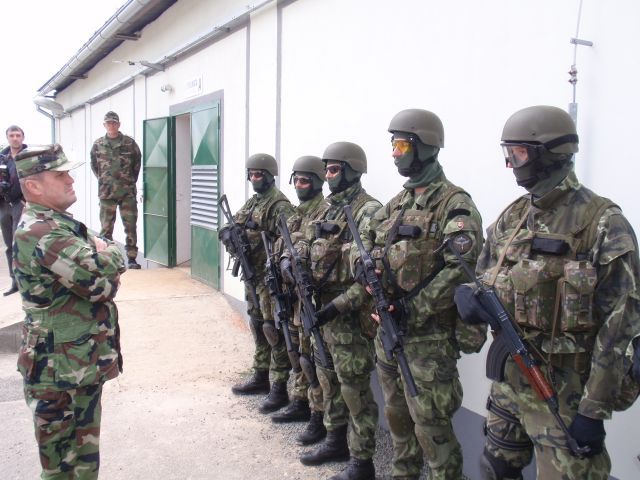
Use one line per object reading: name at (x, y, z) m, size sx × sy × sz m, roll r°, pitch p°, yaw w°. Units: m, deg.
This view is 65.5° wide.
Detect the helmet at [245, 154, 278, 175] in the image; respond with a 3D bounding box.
helmet at (-0.617, -0.827, 5.442) m, size 0.223 × 0.230 × 0.279 m, roll 5°, pitch 11°, yaw 12°

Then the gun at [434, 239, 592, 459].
gun at (1.077, 0.570, 2.766) m, size 0.160 × 1.433 × 0.454 m, roll -18°, pitch -19°, yaw -20°

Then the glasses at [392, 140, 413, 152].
glasses at (0.568, -0.654, 3.501) m, size 0.079 × 0.063 × 0.102 m, roll 5°, pitch 3°, yaw 45°

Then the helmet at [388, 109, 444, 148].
helmet at (0.688, -0.790, 3.538) m, size 0.329 × 0.219 × 0.257 m, roll -3°, pitch 14°, yaw -20°

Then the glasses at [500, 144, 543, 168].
glasses at (1.099, -0.476, 2.742) m, size 0.143 × 0.090 × 0.132 m, roll -4°, pitch 13°, yaw -22°

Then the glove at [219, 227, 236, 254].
glove at (-1.015, -0.034, 5.595) m, size 0.181 × 0.315 × 0.115 m, roll 7°, pitch 18°, yaw 43°

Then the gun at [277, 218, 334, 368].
gun at (-0.113, 0.424, 4.287) m, size 0.172 × 1.381 × 0.482 m, roll -11°, pitch -21°, yaw -10°

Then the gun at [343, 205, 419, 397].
gun at (0.444, 0.443, 3.567) m, size 0.152 × 1.558 × 0.499 m, roll -11°, pitch -26°, yaw -9°

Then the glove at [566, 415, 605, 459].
glove at (1.308, 0.966, 2.440) m, size 0.154 × 0.239 × 0.072 m, roll 0°, pitch -8°, yaw 29°

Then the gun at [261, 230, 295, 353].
gun at (-0.398, 0.482, 4.765) m, size 0.161 × 1.260 × 0.439 m, roll -10°, pitch -19°, yaw -9°

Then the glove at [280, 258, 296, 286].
glove at (-0.292, 0.263, 4.365) m, size 0.081 × 0.341 × 0.137 m, roll -7°, pitch -8°, yaw -7°

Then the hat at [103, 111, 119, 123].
hat at (-4.147, -2.452, 9.893) m, size 0.238 × 0.200 × 0.266 m, roll -2°, pitch 10°, yaw -35°

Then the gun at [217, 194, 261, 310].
gun at (-1.019, 0.150, 6.273) m, size 0.167 × 1.851 × 0.627 m, roll -7°, pitch -19°, yaw -27°

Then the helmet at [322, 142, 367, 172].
helmet at (0.225, -0.736, 4.298) m, size 0.313 × 0.205 × 0.247 m, roll -5°, pitch 14°, yaw -32°

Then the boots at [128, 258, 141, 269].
boots at (-3.948, 0.499, 10.553) m, size 0.152 × 0.336 × 0.431 m, roll 1°, pitch -10°, yaw -35°
